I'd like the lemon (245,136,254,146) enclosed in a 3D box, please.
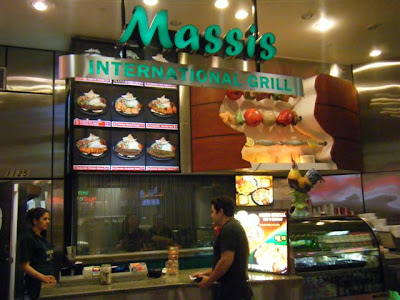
[{"bbox_3d":[0.893,-0.151,6.487,0.175,0.173,0.067,-5,-35,-21],"label":"lemon"}]

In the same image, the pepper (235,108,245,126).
[{"bbox_3d":[0.764,-0.620,6.532,0.169,0.349,0.316,-6,-12,24],"label":"pepper"}]

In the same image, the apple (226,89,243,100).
[{"bbox_3d":[0.622,-0.994,6.468,0.325,0.114,0.362,-4,-11,16],"label":"apple"}]
